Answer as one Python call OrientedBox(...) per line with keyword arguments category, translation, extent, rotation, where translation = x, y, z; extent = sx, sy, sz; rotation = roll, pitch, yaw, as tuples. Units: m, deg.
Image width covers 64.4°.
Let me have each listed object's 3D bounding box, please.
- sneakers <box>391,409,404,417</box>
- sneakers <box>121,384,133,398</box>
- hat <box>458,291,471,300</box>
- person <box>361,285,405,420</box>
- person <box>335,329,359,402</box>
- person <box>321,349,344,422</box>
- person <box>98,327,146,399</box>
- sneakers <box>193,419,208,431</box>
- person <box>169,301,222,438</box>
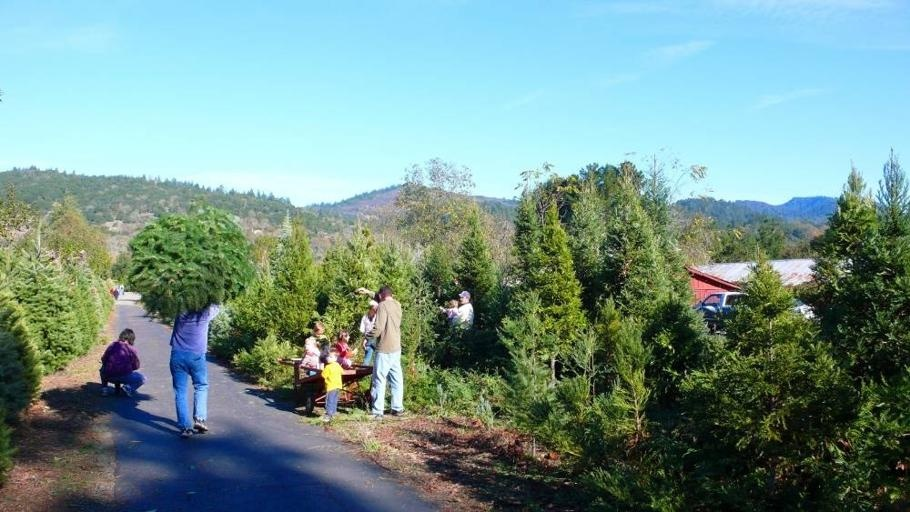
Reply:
OrientedBox(category="sneakers", translation=(-1.326, 3.593, 16.607), extent=(0.306, 0.128, 0.200), rotation=(4, 9, 17))
OrientedBox(category="sneakers", translation=(-8.121, 3.316, 17.924), extent=(0.264, 0.237, 0.418), rotation=(-4, 10, -27))
OrientedBox(category="hat", translation=(0.354, 1.154, 20.921), extent=(0.353, 0.195, 0.255), rotation=(18, -10, -24))
OrientedBox(category="person", translation=(-1.561, 2.200, 16.780), extent=(0.744, 2.907, 1.167), rotation=(0, 9, -5))
OrientedBox(category="person", translation=(-2.683, 2.385, 17.538), extent=(0.609, 1.132, 0.545), rotation=(5, 7, -18))
OrientedBox(category="person", translation=(-2.801, 2.925, 16.468), extent=(0.468, 1.592, 0.891), rotation=(-1, 9, -10))
OrientedBox(category="person", translation=(-9.126, 2.950, 19.788), extent=(1.354, 1.849, 1.131), rotation=(8, -3, -13))
OrientedBox(category="sneakers", translation=(-5.325, 3.542, 15.153), extent=(0.293, 0.275, 0.163), rotation=(-4, 11, -30))
OrientedBox(category="person", translation=(-5.483, 2.377, 15.206), extent=(0.948, 2.631, 1.054), rotation=(-3, 10, -24))
